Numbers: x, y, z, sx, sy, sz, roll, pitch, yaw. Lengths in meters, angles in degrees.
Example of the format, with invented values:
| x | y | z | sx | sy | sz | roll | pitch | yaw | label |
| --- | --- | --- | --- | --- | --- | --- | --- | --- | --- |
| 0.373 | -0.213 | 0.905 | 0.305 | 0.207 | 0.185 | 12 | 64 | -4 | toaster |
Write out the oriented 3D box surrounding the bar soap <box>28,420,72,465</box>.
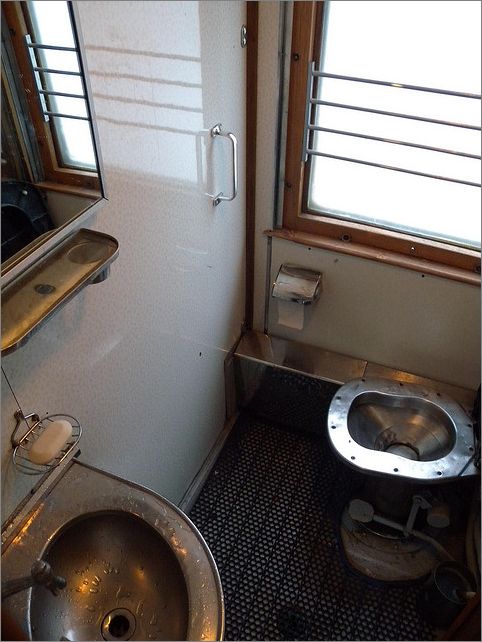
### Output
| x | y | z | sx | sy | sz | roll | pitch | yaw | label |
| --- | --- | --- | --- | --- | --- | --- | --- | --- | --- |
| -0.375 | 0.239 | 0.923 | 0.050 | 0.033 | 0.098 | 13 | 41 | 18 | bar soap |
